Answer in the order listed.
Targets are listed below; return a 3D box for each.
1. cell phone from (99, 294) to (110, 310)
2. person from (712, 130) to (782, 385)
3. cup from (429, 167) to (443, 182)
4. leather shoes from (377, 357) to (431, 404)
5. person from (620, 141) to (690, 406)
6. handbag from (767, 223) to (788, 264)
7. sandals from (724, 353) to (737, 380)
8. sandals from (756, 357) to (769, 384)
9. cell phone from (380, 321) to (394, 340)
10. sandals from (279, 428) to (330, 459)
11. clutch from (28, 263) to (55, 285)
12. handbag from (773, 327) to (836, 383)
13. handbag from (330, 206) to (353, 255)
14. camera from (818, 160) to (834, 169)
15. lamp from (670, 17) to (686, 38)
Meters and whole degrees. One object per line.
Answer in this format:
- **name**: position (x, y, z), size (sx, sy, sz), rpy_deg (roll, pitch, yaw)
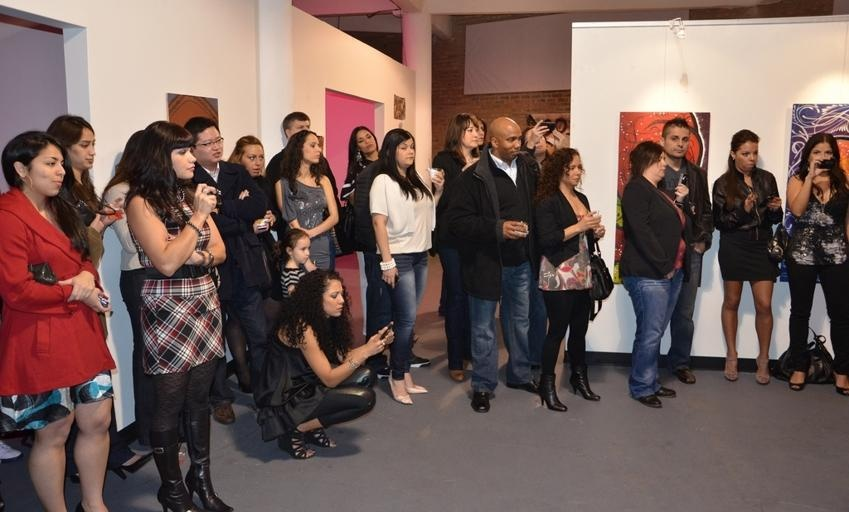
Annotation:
- **cell phone**: position (-2.179, 0.320, 4.021), size (0.039, 0.063, 0.091), rpy_deg (-20, -40, 24)
- **person**: position (3.249, 0.000, 6.034), size (0.658, 2.523, 0.550), rpy_deg (4, 14, 25)
- **cup**: position (0.117, -0.808, 5.882), size (0.117, 0.106, 0.113), rpy_deg (-1, -5, 0)
- **leather shoes**: position (-0.208, 1.254, 5.743), size (0.474, 0.167, 0.273), rpy_deg (9, 12, -10)
- **person**: position (2.140, 0.166, 5.609), size (0.556, 2.457, 0.565), rpy_deg (5, 14, 28)
- **handbag**: position (3.562, -0.142, 5.922), size (0.149, 0.355, 0.350), rpy_deg (8, 15, 37)
- **sandals**: position (3.176, 1.145, 6.119), size (0.098, 0.112, 0.292), rpy_deg (-1, 38, 24)
- **sandals**: position (3.444, 1.181, 6.024), size (0.107, 0.113, 0.285), rpy_deg (-2, 54, 25)
- **cell phone**: position (-0.317, 0.632, 5.002), size (0.089, 0.064, 0.279), rpy_deg (-39, 5, 15)
- **sandals**: position (-0.980, 1.543, 4.888), size (0.274, 0.210, 0.339), rpy_deg (0, 5, 27)
- **clutch**: position (-2.479, 0.119, 3.804), size (0.143, 0.098, 0.064), rpy_deg (-2, -13, 4)
- **handbag**: position (3.874, 1.012, 5.970), size (0.565, 0.591, 0.286), rpy_deg (6, 8, 34)
- **handbag**: position (-0.855, -0.280, 6.007), size (0.163, 0.359, 0.376), rpy_deg (-6, 49, -5)
- **camera**: position (3.826, -0.876, 5.620), size (0.160, 0.097, 0.085), rpy_deg (0, -7, 17)
- **lamp**: position (2.609, -2.346, 6.058), size (0.156, 0.204, 0.102), rpy_deg (2, 7, 10)
